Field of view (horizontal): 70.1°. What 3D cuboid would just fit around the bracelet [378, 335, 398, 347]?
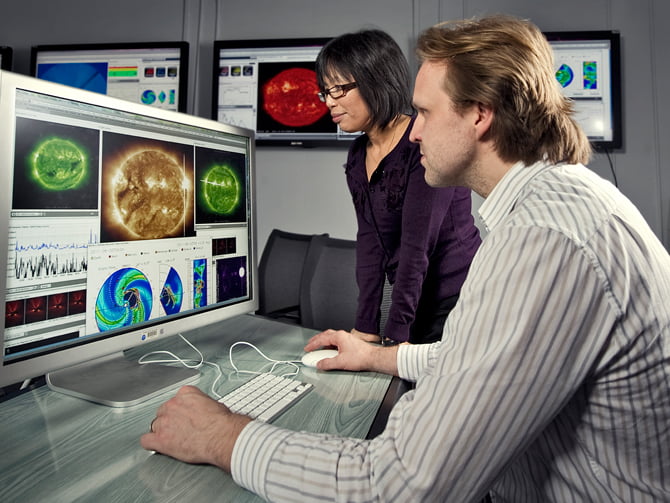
[{"bbox_3d":[0.165,0.283,1.500,0.056,0.030,0.036,7,2,38],"label":"bracelet"}]

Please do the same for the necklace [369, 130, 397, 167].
[{"bbox_3d":[0.165,-0.358,1.685,0.063,0.119,0.090,2,5,-38],"label":"necklace"}]
